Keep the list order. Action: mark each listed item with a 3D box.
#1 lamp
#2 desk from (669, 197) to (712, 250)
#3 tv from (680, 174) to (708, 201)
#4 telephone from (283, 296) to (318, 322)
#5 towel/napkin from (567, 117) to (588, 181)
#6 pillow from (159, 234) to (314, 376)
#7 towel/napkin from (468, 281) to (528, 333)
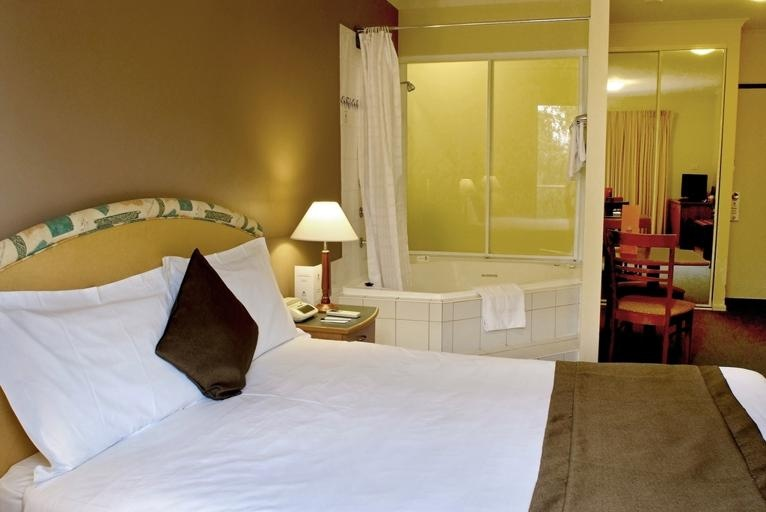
[{"bbox_3d":[-0.392,0.022,3.879,0.455,0.732,0.442,5,-13,-39],"label":"lamp"},{"bbox_3d":[3.616,-0.367,6.477,0.317,0.514,0.523,0,4,1],"label":"desk"},{"bbox_3d":[3.547,-0.773,6.209,0.329,0.320,0.274,2,4,12],"label":"tv"},{"bbox_3d":[-0.559,0.354,3.611,0.188,0.089,0.141,5,9,18],"label":"telephone"},{"bbox_3d":[1.971,-1.118,5.432,0.156,0.599,0.172,0,9,13],"label":"towel/napkin"},{"bbox_3d":[-0.810,0.252,3.120,0.172,0.642,0.642,-28,-12,20],"label":"pillow"},{"bbox_3d":[1.002,0.415,4.470,0.369,0.377,0.134,-1,2,-6],"label":"towel/napkin"}]
